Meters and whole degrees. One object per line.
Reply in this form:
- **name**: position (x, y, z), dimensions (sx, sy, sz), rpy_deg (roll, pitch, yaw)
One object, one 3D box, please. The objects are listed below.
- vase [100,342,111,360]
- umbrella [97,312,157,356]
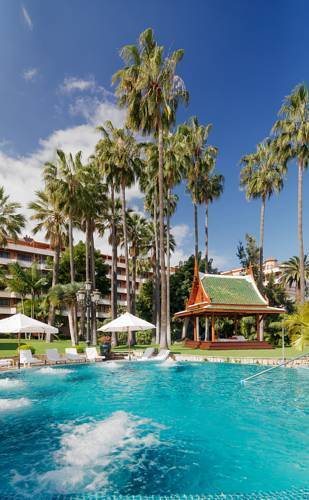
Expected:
- **vase**: position (-2.881, 5.955, 21.454), dimensions (0.604, 1.020, 0.688), rpy_deg (2, -7, -13)
- **umbrella**: position (-1.704, 4.779, 20.768), dimensions (2.648, 2.330, 2.983), rpy_deg (1, -9, -19)
